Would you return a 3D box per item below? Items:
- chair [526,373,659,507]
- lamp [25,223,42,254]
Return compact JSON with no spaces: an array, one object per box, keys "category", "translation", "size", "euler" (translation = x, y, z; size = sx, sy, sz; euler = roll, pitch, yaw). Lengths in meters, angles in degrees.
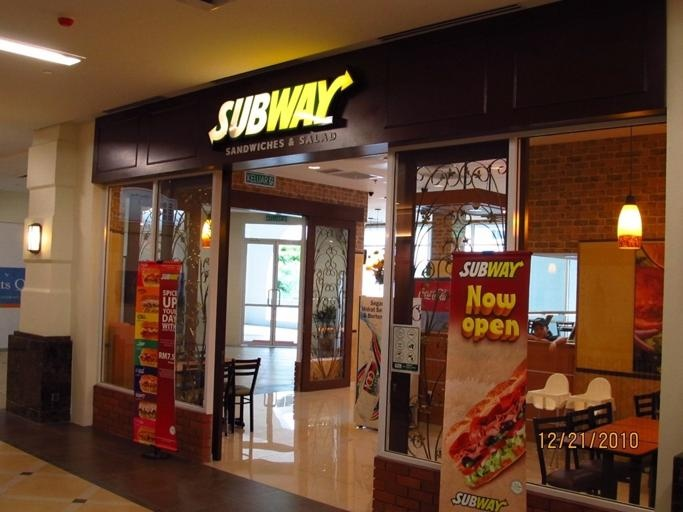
[{"category":"chair","translation":[1.883,1.351,4.158],"size":[0.928,0.784,0.564],"euler":[1,-2,31]},{"category":"lamp","translation":[-4.412,-0.247,7.736],"size":[0.362,0.307,0.098],"euler":[1,-2,34]}]
